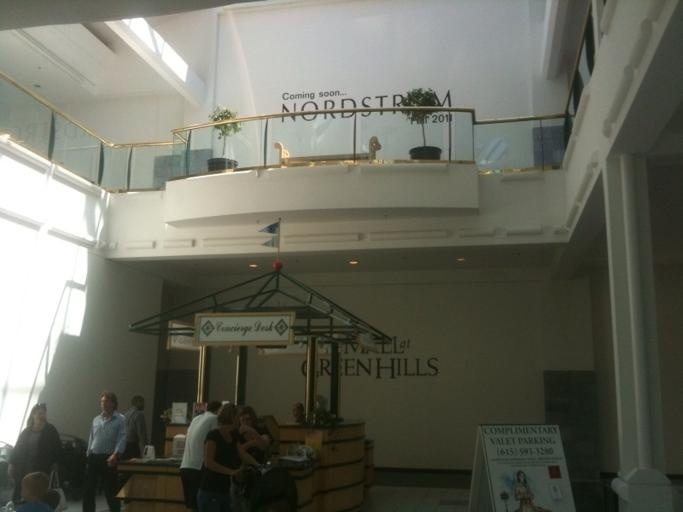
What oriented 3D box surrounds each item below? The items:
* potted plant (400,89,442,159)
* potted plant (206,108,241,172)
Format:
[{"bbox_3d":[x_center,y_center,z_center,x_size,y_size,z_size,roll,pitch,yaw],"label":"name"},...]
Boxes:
[{"bbox_3d":[1.521,-2.541,11.168,0.672,1.663,0.665,-3,-13,8],"label":"potted plant"},{"bbox_3d":[-2.379,-2.399,11.691,0.566,1.584,0.883,4,-14,-20],"label":"potted plant"}]
